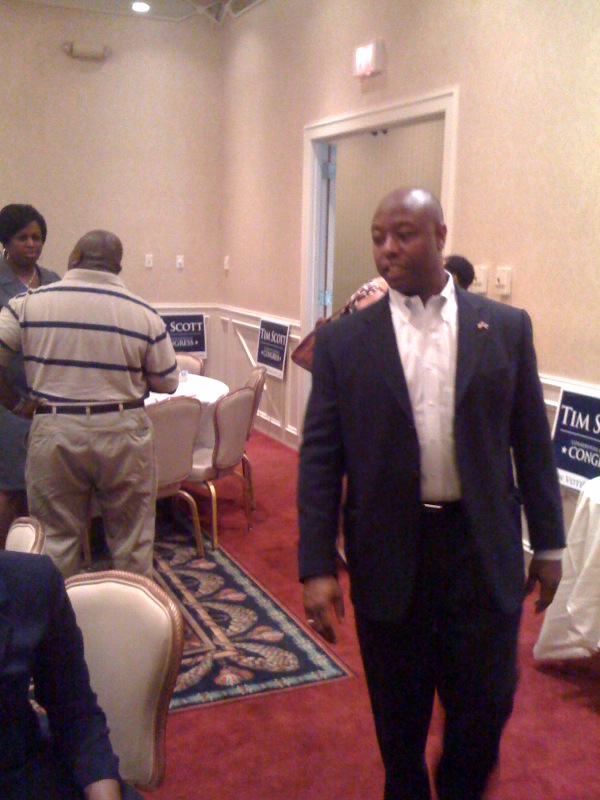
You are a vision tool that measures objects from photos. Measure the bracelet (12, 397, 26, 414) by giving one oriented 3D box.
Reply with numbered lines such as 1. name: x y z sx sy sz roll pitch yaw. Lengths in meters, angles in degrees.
1. bracelet: -1.029 0.020 2.167 0.031 0.044 0.042 38 2 -12

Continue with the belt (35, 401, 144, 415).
1. belt: -0.773 0.027 2.171 0.382 0.043 0.115 -2 6 -25

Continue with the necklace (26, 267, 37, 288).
1. necklace: -1.242 -0.569 2.736 0.018 0.089 0.046 8 -3 -31
